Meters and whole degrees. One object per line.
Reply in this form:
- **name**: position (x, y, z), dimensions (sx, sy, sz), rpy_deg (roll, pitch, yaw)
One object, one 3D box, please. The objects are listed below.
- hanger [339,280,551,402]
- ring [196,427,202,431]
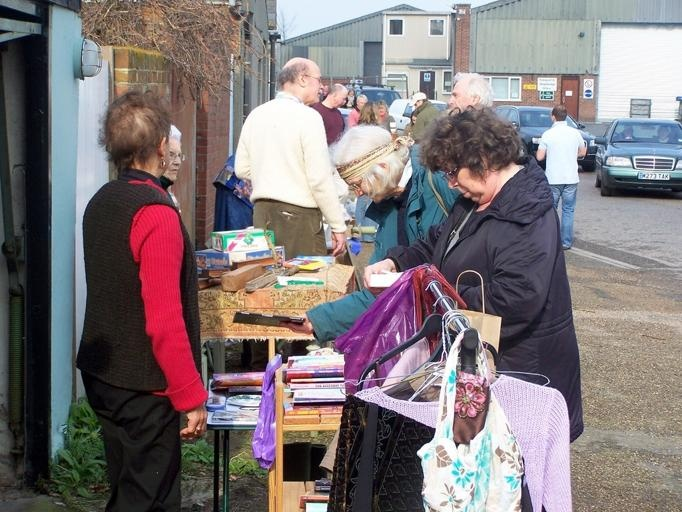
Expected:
- **hanger**: position (0.384, 0.342, 4.280), dimensions (0.987, 0.593, 0.743), rpy_deg (1, 13, -14)
- **ring**: position (-0.719, 0.878, 4.415), dimensions (0.020, 0.020, 0.032), rpy_deg (5, -14, -4)
